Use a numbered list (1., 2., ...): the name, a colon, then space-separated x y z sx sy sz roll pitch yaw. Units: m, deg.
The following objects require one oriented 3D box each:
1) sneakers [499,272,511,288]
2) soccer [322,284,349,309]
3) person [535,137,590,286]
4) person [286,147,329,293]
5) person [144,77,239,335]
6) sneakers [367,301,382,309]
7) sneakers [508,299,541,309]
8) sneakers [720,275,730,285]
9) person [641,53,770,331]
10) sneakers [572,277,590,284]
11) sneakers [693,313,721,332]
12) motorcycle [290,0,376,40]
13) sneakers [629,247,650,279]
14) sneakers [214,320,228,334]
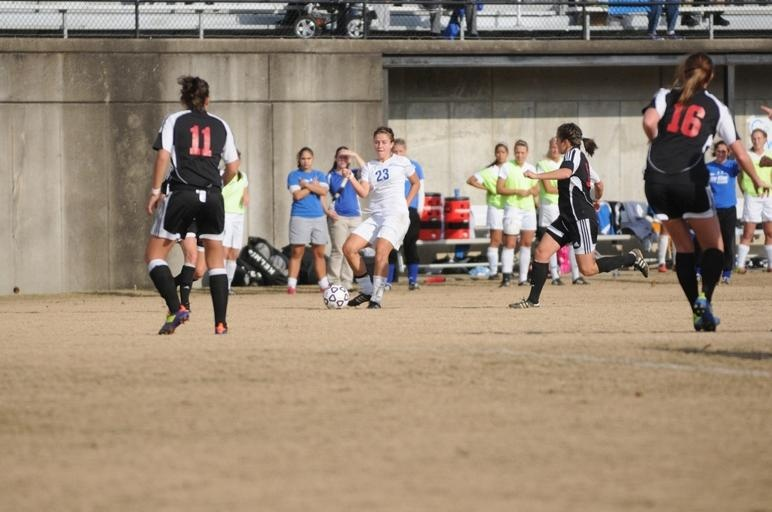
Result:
1. sneakers: 2.071 0.370 25.883 0.205 0.198 0.594 -1 4 3
2. soccer: -0.751 0.576 22.505 0.326 0.377 0.334 -34 59 -16
3. person: 2.959 -0.827 25.741 0.700 2.639 0.709 -4 -4 30
4. person: -1.297 -0.622 24.775 0.944 2.467 0.822 0 3 21
5. person: -2.706 -0.684 20.615 1.111 3.745 1.128 3 -11 -16
6. sneakers: -0.182 0.695 22.388 0.197 0.094 0.092 3 0 -35
7. sneakers: 2.031 0.683 21.918 0.389 0.182 0.189 3 0 1
8. sneakers: 5.723 0.359 25.012 0.094 0.143 0.299 0 0 16
9. person: 4.171 -0.926 20.146 1.200 3.703 0.934 2 4 36
10. sneakers: 3.416 0.383 26.049 0.297 0.153 0.115 2 9 17
11. sneakers: 4.264 0.814 19.759 0.323 0.292 0.252 0 4 10
12. motorcycle: -1.178 -4.557 28.320 1.457 0.677 0.604 -1 4 -4
13. sneakers: 4.435 0.085 26.086 0.172 0.234 0.538 17 -29 52
14. sneakers: -2.230 0.931 20.094 0.164 0.160 0.205 -1 4 -6
